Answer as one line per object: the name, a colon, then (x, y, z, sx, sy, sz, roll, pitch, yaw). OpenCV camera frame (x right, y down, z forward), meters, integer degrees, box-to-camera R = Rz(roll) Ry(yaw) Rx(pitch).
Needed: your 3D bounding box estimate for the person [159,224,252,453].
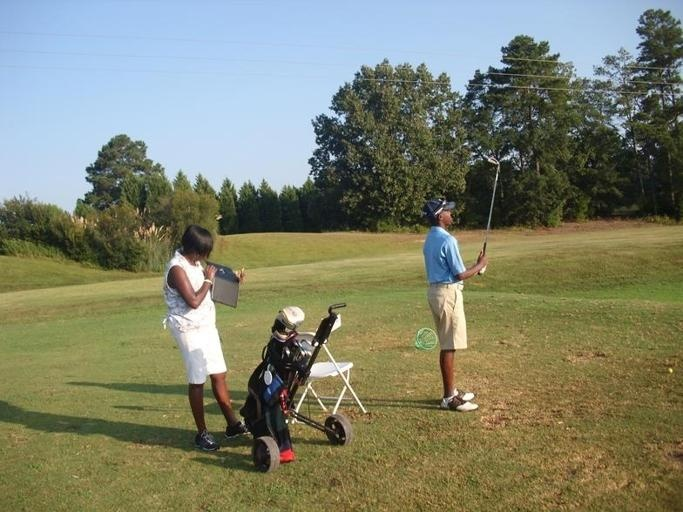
person: (-1.655, 0.891, 6.574, 0.968, 2.428, 0.710, 0, 0, -6)

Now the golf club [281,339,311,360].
golf club: (-0.482, 0.983, 5.961, 0.225, 0.226, 0.186, -16, 4, 5)

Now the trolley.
trolley: (-0.445, 1.459, 6.157, 1.227, 1.864, 1.063, 3, 6, -29)

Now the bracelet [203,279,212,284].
bracelet: (-1.459, 0.280, 6.169, 0.072, 0.061, 0.065, -5, 9, -17)

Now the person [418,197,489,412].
person: (1.415, 0.547, 7.448, 1.015, 2.390, 0.710, 0, 0, 2)
